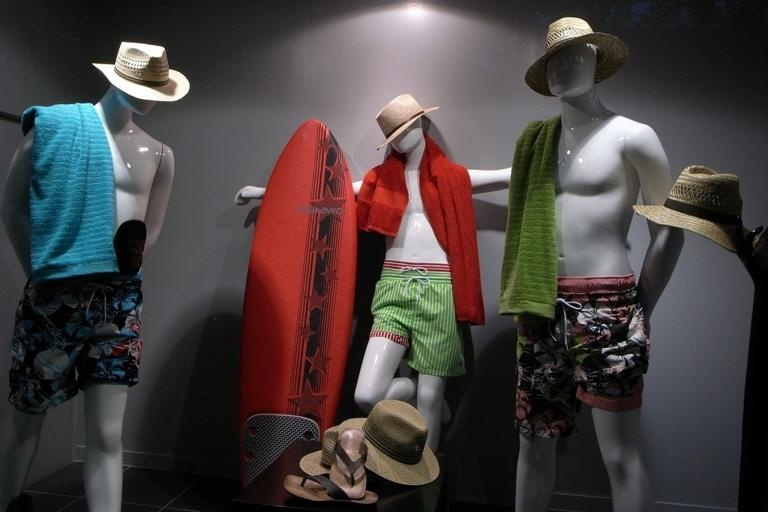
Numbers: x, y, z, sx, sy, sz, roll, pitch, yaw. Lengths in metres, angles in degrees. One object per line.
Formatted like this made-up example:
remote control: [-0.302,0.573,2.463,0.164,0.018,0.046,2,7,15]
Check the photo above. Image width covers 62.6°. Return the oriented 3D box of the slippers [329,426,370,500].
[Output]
slippers: [-0.139,0.846,2.655,0.112,0.309,0.107,0,-8,-3]

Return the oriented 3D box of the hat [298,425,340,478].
hat: [-0.285,0.841,2.759,0.100,0.122,0.288,12,7,9]

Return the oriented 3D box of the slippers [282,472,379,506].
slippers: [-0.226,0.956,2.591,0.352,0.078,0.151,9,-6,4]

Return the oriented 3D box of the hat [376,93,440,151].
hat: [0.081,-0.729,3.310,0.329,0.130,0.260,-38,18,7]

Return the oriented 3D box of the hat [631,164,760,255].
hat: [1.269,-0.206,2.632,0.393,0.215,0.383,20,5,23]
